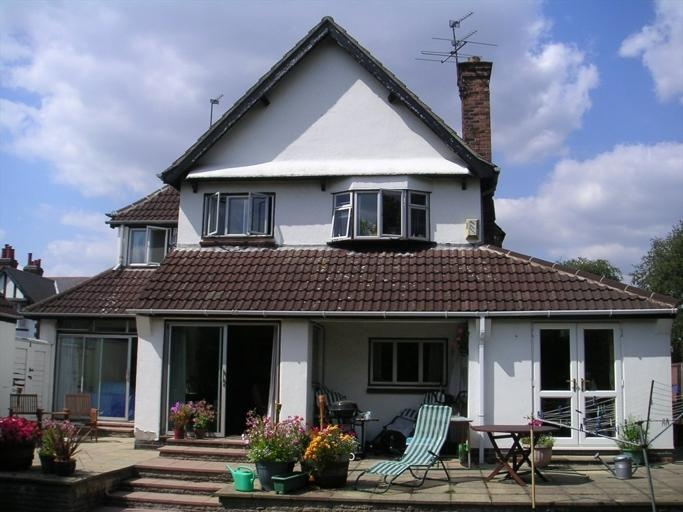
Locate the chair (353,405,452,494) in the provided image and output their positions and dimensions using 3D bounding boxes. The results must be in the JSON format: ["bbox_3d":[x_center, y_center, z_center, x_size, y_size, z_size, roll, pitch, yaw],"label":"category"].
[{"bbox_3d":[1.470,4.473,18.447,2.428,1.722,1.170,4,-8,-45],"label":"chair"}]

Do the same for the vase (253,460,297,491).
[{"bbox_3d":[-1.556,4.988,18.121,0.697,0.508,0.710,1,-20,-3],"label":"vase"}]

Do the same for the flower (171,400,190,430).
[{"bbox_3d":[-4.324,4.304,21.519,0.653,0.769,0.575,4,-11,-16],"label":"flower"}]

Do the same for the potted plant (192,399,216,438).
[{"bbox_3d":[-3.694,4.416,21.467,0.647,0.986,0.538,5,-11,-22],"label":"potted plant"}]

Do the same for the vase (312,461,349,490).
[{"bbox_3d":[-0.251,5.052,18.249,0.650,0.443,0.607,-8,-17,23],"label":"vase"}]

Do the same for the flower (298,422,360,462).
[{"bbox_3d":[-0.254,4.360,18.317,0.871,0.590,0.878,4,-2,19],"label":"flower"}]

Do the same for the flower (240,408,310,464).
[{"bbox_3d":[-1.661,4.258,18.746,1.339,0.923,1.380,6,-9,-23],"label":"flower"}]

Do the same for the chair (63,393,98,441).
[{"bbox_3d":[-7.526,4.755,23.355,0.828,1.193,0.891,-1,-11,28],"label":"chair"}]

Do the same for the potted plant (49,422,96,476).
[{"bbox_3d":[-6.573,4.678,18.871,0.897,1.092,0.948,-2,-20,-24],"label":"potted plant"}]

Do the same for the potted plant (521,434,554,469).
[{"bbox_3d":[4.837,4.818,19.420,0.649,0.589,0.643,2,-8,-25],"label":"potted plant"}]

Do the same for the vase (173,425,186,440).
[{"bbox_3d":[-4.302,4.759,21.276,0.290,0.220,0.288,11,-19,-34],"label":"vase"}]

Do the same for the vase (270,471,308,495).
[{"bbox_3d":[-1.204,5.171,18.002,0.333,0.331,0.842,-9,-14,32],"label":"vase"}]

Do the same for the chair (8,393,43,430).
[{"bbox_3d":[-8.671,4.280,21.822,0.933,1.244,0.859,2,-16,-17],"label":"chair"}]

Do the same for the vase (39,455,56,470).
[{"bbox_3d":[-6.888,4.908,18.765,0.389,0.307,0.396,1,-20,-3],"label":"vase"}]
